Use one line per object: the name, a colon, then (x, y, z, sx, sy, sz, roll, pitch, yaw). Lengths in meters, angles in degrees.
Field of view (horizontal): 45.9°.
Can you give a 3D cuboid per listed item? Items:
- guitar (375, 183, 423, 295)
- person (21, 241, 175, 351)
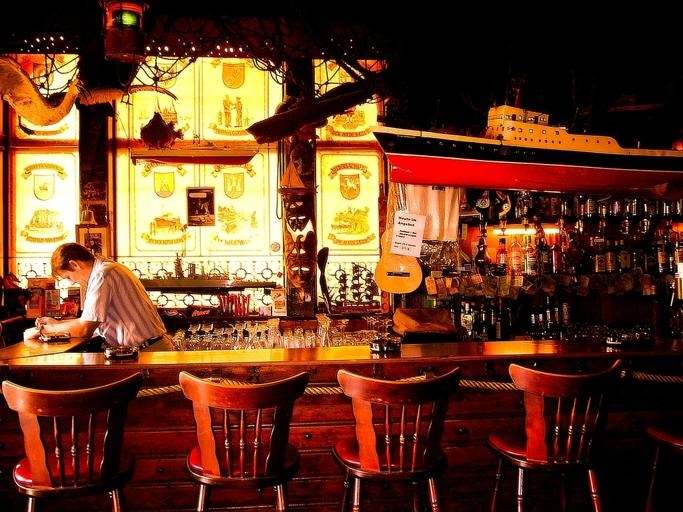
guitar: (0.597, -0.186, 8.487, 0.474, 1.138, 0.317, 0, 1, 15)
person: (-2.442, 0.457, 8.155, 1.257, 1.681, 0.835, -3, -4, -15)
